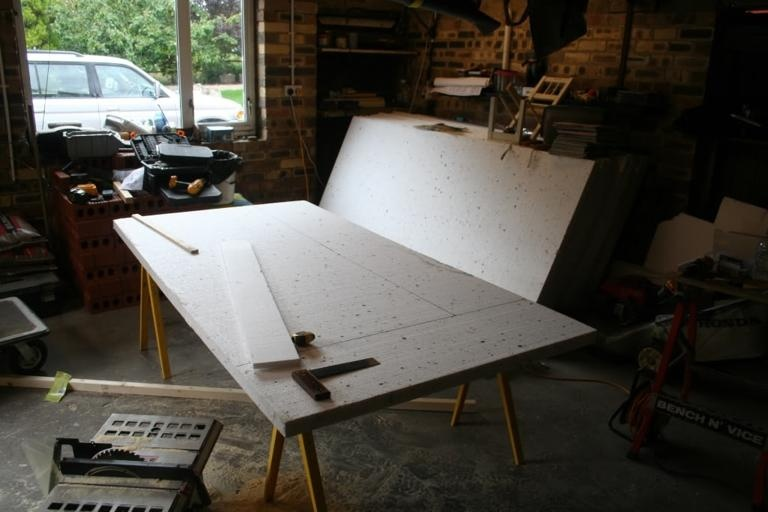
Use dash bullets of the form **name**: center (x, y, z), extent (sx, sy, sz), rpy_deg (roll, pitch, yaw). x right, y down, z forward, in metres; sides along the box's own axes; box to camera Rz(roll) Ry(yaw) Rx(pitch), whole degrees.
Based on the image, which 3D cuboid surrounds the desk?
- **desk**: center (-0.337, 0.409, 3.187), extent (1.569, 0.818, 2.361), rpy_deg (-14, 26, -36)
